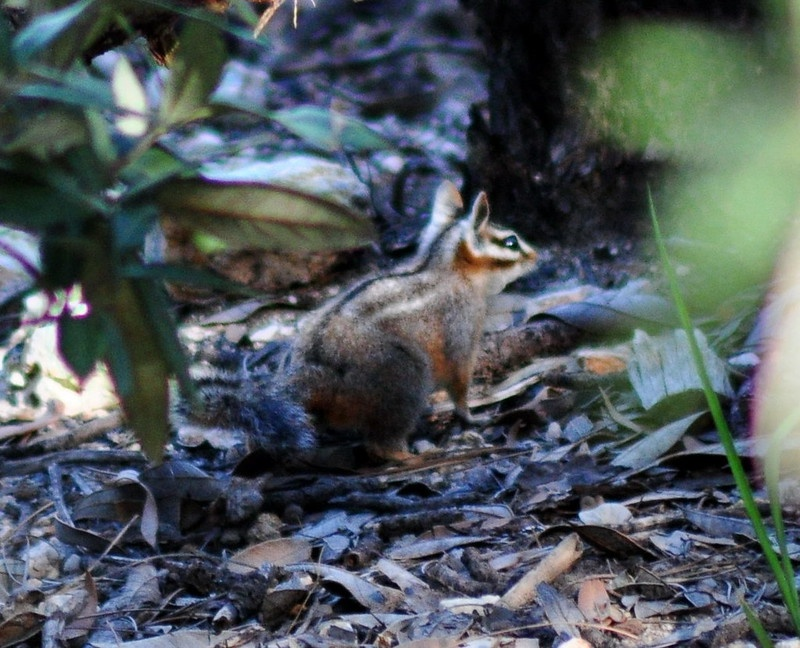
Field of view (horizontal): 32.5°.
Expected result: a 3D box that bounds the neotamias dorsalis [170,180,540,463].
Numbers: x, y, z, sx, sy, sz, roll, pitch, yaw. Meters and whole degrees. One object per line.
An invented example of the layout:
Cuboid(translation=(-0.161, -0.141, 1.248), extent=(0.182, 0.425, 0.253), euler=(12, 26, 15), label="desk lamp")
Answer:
Cuboid(translation=(-0.088, -0.032, 4.464), extent=(0.532, 0.744, 1.209), euler=(12, 25, 39), label="neotamias dorsalis")
